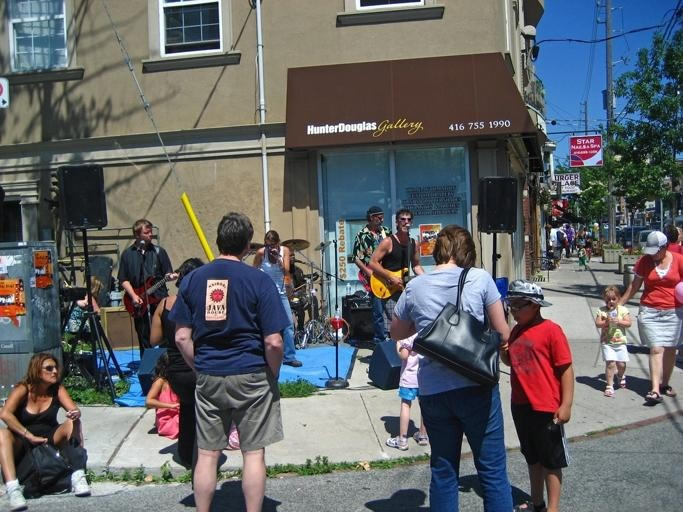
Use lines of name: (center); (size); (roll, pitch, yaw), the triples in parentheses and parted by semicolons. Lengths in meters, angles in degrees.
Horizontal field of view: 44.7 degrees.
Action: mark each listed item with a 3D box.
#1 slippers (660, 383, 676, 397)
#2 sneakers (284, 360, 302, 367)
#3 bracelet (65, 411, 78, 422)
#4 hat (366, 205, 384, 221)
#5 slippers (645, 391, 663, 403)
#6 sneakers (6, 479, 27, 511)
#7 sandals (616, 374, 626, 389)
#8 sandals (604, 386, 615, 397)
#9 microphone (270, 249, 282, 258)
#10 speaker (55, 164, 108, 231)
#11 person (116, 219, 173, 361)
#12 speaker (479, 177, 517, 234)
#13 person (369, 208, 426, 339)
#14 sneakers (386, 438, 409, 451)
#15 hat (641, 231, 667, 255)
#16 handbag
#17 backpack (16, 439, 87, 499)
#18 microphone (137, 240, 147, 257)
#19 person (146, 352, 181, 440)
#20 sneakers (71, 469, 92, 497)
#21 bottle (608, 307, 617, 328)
slippers: (4.306, 1.772, 10.933); (0.186, 0.139, 0.128); (-2, 3, 18)
sneakers: (-0.711, 1.623, 12.612); (0.224, 0.113, 0.113); (-1, 0, 11)
bracelet: (-2.870, 1.709, 8.892); (0.080, 0.038, 0.109); (17, -41, -21)
hat: (0.512, -0.644, 12.515); (0.200, 0.185, 0.181); (-9, 6, 21)
slippers: (4.049, 1.840, 10.724); (0.254, 0.107, 0.072); (7, -3, -30)
sneakers: (-3.334, 2.461, 8.566); (0.187, 0.275, 0.266); (-4, 3, -26)
sandals: (3.830, 1.725, 11.364); (0.101, 0.144, 0.326); (-2, -13, 15)
sandals: (3.591, 1.818, 11.102); (0.074, 0.107, 0.213); (1, 2, 32)
microphone: (-0.965, -0.038, 12.407); (0.077, 0.076, 0.182); (-23, 25, -38)
speaker: (-3.547, -0.834, 11.613); (0.779, 1.356, 0.725); (-2, -2, -23)
person: (-2.886, 0.655, 12.421); (0.695, 2.423, 0.690); (-7, 31, -18)
speaker: (2.123, -0.689, 11.231); (0.524, 0.750, 0.208); (-2, 3, 8)
person: (0.917, 0.361, 12.234); (0.901, 2.246, 0.538); (4, 37, 4)
sneakers: (0.654, 2.163, 9.625); (0.256, 0.148, 0.115); (9, 2, 28)
hat: (4.161, -0.162, 10.992); (0.278, 0.318, 0.521); (-1, 4, 21)
handbag: (1.069, 0.666, 7.642); (0.672, 0.971, 0.263); (23, -23, -4)
backpack: (-3.147, 2.194, 8.972); (0.476, 0.698, 0.262); (1, 1, -22)
microphone: (-2.906, -0.122, 12.184); (0.140, 0.227, 0.060); (15, 27, 40)
person: (-2.054, 1.668, 9.981); (0.495, 1.005, 0.571); (5, -6, -15)
sneakers: (-2.735, 2.418, 8.780); (0.115, 0.161, 0.335); (2, 0, -30)
bottle: (3.656, 0.827, 11.159); (0.119, 0.217, 0.072); (-1, 3, 22)
